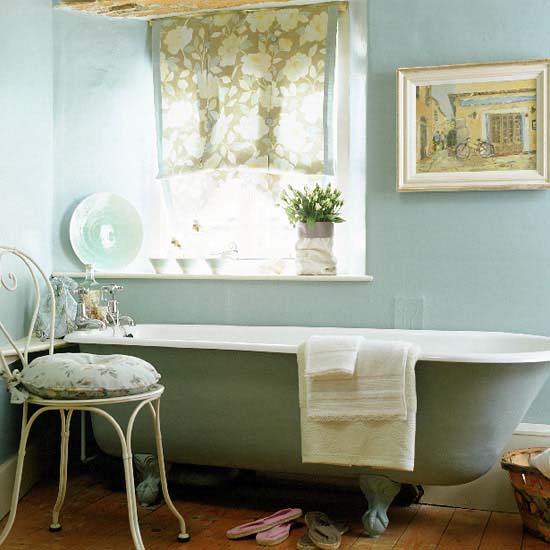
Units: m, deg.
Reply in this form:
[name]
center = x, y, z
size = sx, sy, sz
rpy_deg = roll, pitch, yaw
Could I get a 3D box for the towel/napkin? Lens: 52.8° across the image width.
[towel/napkin]
center = 0.269, 0.409, 1.766
size = 0.460, 0.485, 0.217
rpy_deg = 0, 0, 13

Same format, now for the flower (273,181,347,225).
[flower]
center = 0.181, -0.362, 2.803
size = 0.331, 0.262, 0.377
rpy_deg = 0, -3, 6
